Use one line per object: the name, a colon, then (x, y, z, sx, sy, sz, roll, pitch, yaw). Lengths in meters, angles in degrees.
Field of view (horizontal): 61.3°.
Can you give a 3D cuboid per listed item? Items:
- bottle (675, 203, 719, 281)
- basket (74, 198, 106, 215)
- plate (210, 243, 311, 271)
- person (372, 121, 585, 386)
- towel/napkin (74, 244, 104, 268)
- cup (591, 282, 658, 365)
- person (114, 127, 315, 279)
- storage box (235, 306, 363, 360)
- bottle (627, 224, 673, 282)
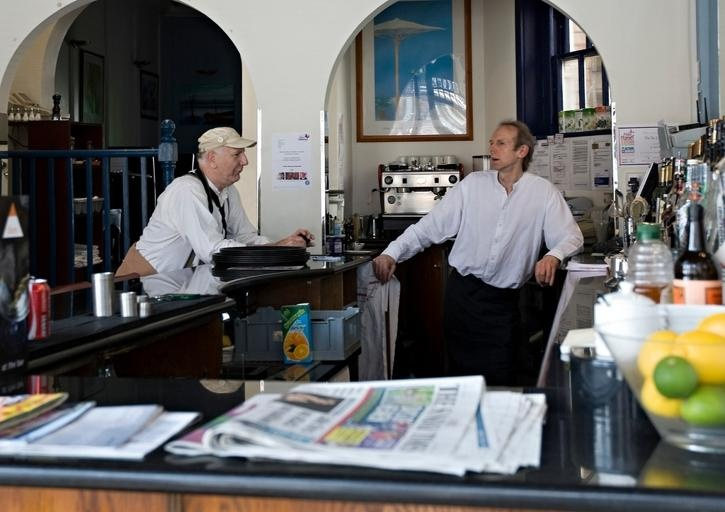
bottle: (0.725, -0.033, 1.327, 0.083, 0.164, 0.076, -1, 5, 0)
basket: (-2.583, -0.472, 5.765, 0.265, 0.126, 0.407, 0, -2, 2)
plate: (-0.522, 0.007, 3.154, 0.474, 0.109, 0.237, -3, 7, -16)
person: (0.764, -0.008, 4.040, 1.100, 1.789, 0.850, 1, 7, -3)
towel/napkin: (-2.433, 0.000, 5.441, 0.270, 0.130, 0.358, -2, 11, -10)
cup: (0.485, 0.117, 1.104, 0.094, 0.146, 0.143, 4, 8, 41)
person: (-1.000, -0.328, 3.617, 0.842, 0.866, 0.574, -3, 6, -23)
storage box: (-0.326, 0.381, 3.147, 0.423, 0.294, 0.505, -2, 2, -45)
bottle: (0.632, -0.008, 1.345, 0.088, 0.137, 0.230, 2, 7, 27)
